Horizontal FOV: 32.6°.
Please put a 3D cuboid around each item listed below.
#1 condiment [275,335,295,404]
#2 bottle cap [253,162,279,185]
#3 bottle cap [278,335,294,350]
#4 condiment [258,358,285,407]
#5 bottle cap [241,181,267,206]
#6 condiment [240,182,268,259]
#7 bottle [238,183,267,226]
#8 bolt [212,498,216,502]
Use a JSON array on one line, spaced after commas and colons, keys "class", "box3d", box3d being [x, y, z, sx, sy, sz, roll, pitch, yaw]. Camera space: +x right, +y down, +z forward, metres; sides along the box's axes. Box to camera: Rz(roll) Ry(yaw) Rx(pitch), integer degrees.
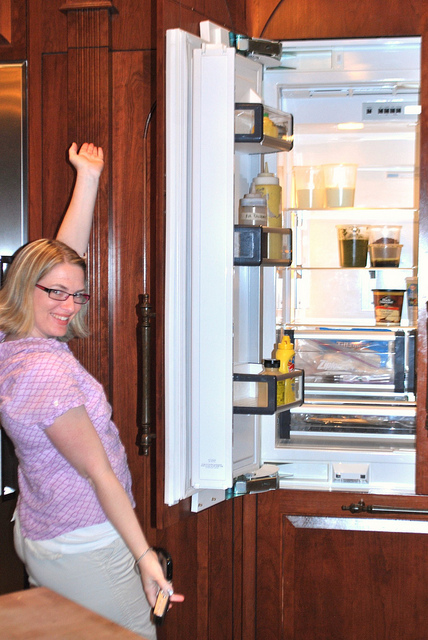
[{"class": "condiment", "box3d": [0.176, 0.124, 1.878, 0.049, 0.192, 0.050, 2, 19, 11]}, {"class": "bottle cap", "box3d": [0.136, -0.379, 1.869, 0.042, 0.049, 0.044, 0, 3, 0]}, {"class": "bottle cap", "box3d": [0.181, 0.056, 1.855, 0.032, 0.036, 0.033, -1, 0, 25]}, {"class": "condiment", "box3d": [0.138, 0.157, 1.790, 0.065, 0.126, 0.070, 5, 10, 37]}, {"class": "bottle cap", "box3d": [0.100, -0.310, 1.783, 0.044, 0.051, 0.046, -1, -1, 0]}, {"class": "condiment", "box3d": [0.100, -0.254, 1.814, 0.073, 0.198, 0.208, 3, 3, 2]}, {"class": "bottle", "box3d": [0.094, -0.283, 1.803, 0.065, 0.110, 0.064, 2, -5, 0]}, {"class": "bolt", "box3d": [-0.001, 0.436, 1.783, 0.001, 0.009, 0.017, 5, 4, 35]}]
